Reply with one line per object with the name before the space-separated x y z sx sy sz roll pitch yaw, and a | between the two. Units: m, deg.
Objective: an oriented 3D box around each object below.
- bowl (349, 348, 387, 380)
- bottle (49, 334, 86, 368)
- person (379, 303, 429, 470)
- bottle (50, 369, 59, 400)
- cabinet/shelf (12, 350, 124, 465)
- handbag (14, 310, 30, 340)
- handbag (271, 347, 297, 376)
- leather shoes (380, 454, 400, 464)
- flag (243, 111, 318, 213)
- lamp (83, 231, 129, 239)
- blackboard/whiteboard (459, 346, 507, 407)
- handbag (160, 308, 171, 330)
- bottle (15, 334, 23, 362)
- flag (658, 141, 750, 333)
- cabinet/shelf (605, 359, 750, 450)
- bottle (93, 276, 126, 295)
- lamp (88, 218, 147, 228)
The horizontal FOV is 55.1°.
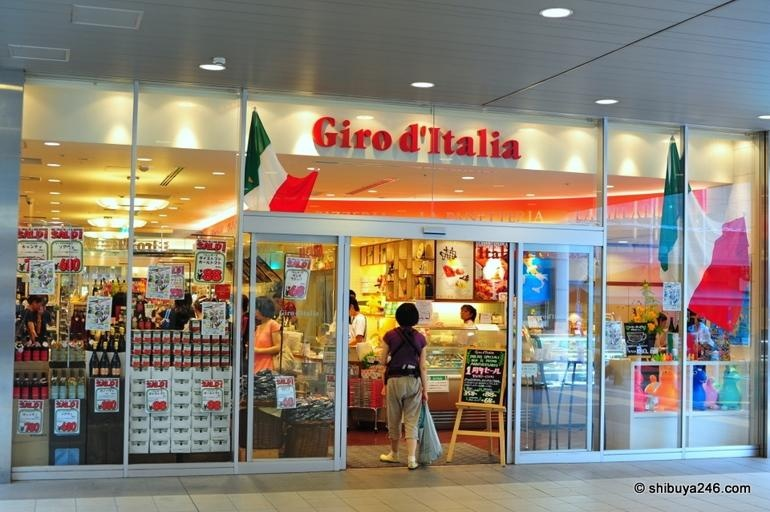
bowl | -0.290 1.729 11.709 0.553 0.311 0.540 0 -1 0
bottle | -3.849 1.146 8.923 0.390 0.330 0.370 2 0 -4
person | 0.239 1.692 9.816 0.565 2.108 0.406 3 2 26
bottle | -3.991 1.533 8.900 0.112 0.343 0.015 2 2 -8
cabinet/shelf | -3.900 1.840 8.901 1.485 1.318 0.673 2 -2 -4
handbag | -4.356 0.827 8.837 0.139 0.331 0.033 2 2 -9
handbag | -1.307 1.341 9.412 0.323 0.345 0.200 2 -32 -23
leather shoes | 0.051 2.714 9.961 0.274 0.108 0.099 2 -2 20
flag | -1.393 -1.162 9.528 1.365 1.614 0.240 3 -9 -26
lamp | -3.432 -0.255 9.038 0.505 0.103 0.050 2 2 -7
blackboard/whiteboard | 1.359 1.670 10.135 0.847 0.900 0.107 3 -19 19
handbag | -2.723 0.778 9.156 0.147 0.214 0.236 5 -8 -2
bottle | -4.388 1.104 8.828 0.091 0.296 0.019 1 2 -25
flag | 4.649 -0.289 10.765 1.507 2.734 0.331 1 2 -17
cabinet/shelf | 4.061 2.105 10.473 1.485 0.787 0.424 0 0 -6
bottle | -3.386 0.368 9.037 0.384 0.229 0.050 2 2 -8
lamp | -3.301 -0.405 9.057 0.680 0.117 0.122 1 2 -18
